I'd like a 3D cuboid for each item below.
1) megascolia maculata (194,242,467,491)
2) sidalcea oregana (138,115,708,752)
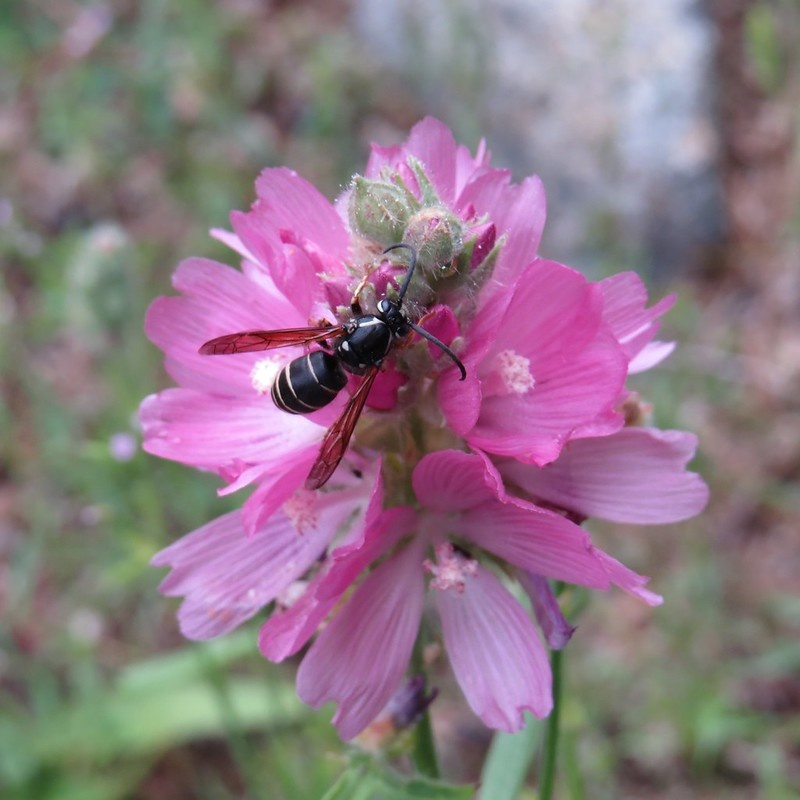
[{"bbox_3d":[-0.093,-0.081,1.658,0.435,0.207,0.353,-35,84,-3],"label":"megascolia maculata"},{"bbox_3d":[0.061,0.076,2.066,1.188,1.069,1.220,26,71,22],"label":"sidalcea oregana"}]
